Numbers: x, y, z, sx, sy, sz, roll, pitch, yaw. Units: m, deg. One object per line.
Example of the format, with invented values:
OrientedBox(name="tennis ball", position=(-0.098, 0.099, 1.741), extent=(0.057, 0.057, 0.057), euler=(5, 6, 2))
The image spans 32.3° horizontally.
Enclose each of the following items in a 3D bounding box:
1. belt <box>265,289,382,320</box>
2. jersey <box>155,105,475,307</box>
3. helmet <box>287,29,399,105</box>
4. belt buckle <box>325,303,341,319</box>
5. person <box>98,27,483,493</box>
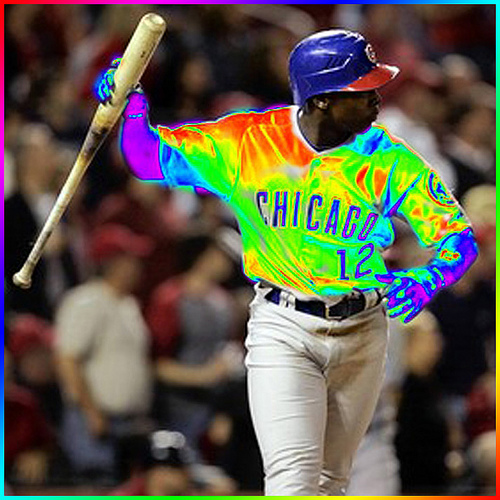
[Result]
OrientedBox(name="belt", position=(0.278, 0.196, 3.237), extent=(0.434, 0.098, 0.101), euler=(-3, 25, 0))
OrientedBox(name="jersey", position=(0.220, -0.178, 3.292), extent=(1.212, 0.645, 0.485), euler=(2, 27, 10))
OrientedBox(name="helmet", position=(0.351, -0.712, 3.283), extent=(0.429, 0.220, 0.296), euler=(4, 32, 22))
OrientedBox(name="belt buckle", position=(0.306, 0.225, 3.211), extent=(0.052, 0.059, 0.024), euler=(-5, 27, -2))
OrientedBox(name="person", position=(0.205, 0.060, 3.391), extent=(0.896, 1.729, 0.981), euler=(-19, 30, -27))
